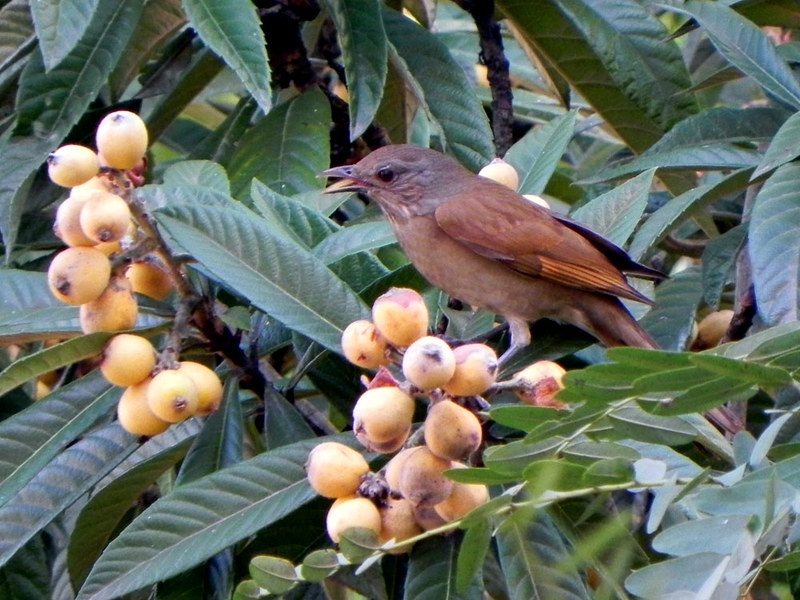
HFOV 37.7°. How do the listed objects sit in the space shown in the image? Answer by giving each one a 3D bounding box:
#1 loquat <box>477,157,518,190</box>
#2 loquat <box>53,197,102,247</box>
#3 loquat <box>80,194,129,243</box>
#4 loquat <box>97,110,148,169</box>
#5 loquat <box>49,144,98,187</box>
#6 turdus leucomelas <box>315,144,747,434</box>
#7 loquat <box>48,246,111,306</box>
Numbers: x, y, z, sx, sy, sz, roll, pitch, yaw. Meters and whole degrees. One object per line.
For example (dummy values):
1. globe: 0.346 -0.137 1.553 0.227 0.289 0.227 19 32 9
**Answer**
1. loquat: 0.305 -0.391 3.658 0.097 0.062 0.116 13 7 28
2. loquat: -0.866 -0.217 3.200 0.136 0.139 0.128 0 2 6
3. loquat: -0.781 -0.217 3.115 0.140 0.124 0.098 -33 17 -3
4. loquat: -0.757 -0.438 3.203 0.151 0.162 0.145 2 -13 -34
5. loquat: -0.861 -0.367 3.167 0.135 0.094 0.096 -15 25 -36
6. turdus leucomelas: 0.634 -0.173 4.310 2.194 0.890 0.585 12 21 26
7. loquat: -0.839 -0.066 3.093 0.223 0.149 0.145 -1 15 -24
